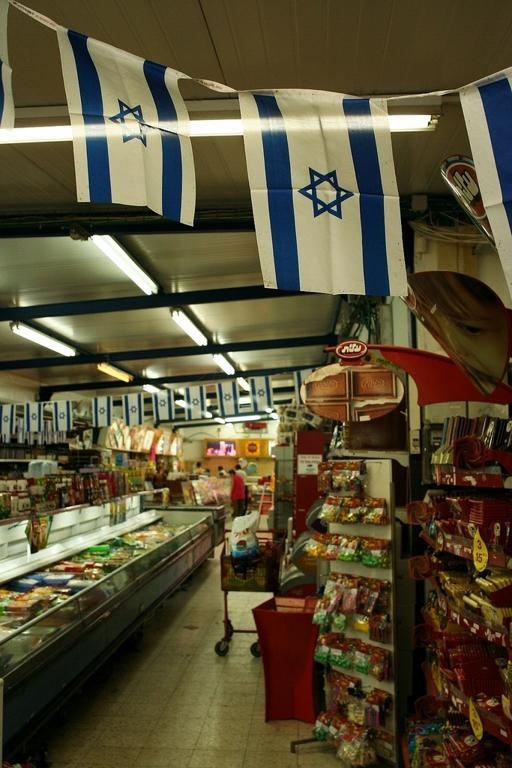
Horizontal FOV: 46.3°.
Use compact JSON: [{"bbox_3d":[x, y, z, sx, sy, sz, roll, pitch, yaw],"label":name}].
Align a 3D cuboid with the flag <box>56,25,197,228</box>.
[{"bbox_3d":[-0.482,-0.973,2.292,0.538,0.689,0.050,1,-14,-39],"label":"flag"}]
